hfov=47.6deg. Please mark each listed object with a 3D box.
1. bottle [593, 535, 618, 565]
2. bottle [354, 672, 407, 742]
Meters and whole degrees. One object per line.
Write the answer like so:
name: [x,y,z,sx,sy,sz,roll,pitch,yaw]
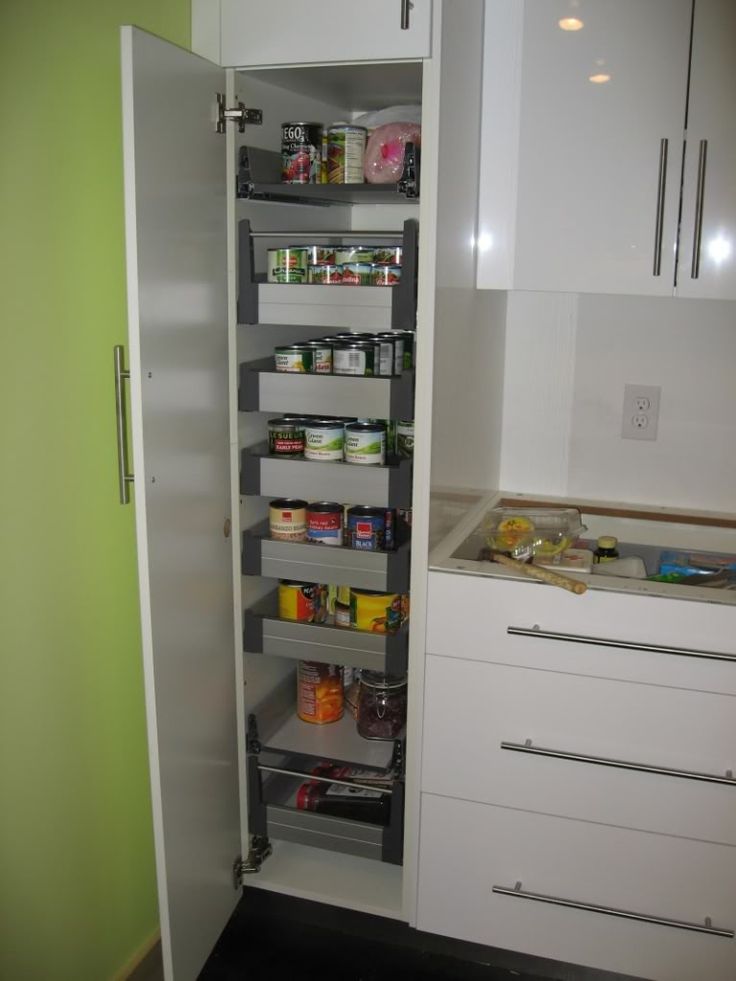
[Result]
bottle: [0.474,0.120,1.669,0.051,0.081,0.053,-4,18,1]
bottle: [0.017,0.447,1.785,0.128,0.143,0.129,0,6,-5]
